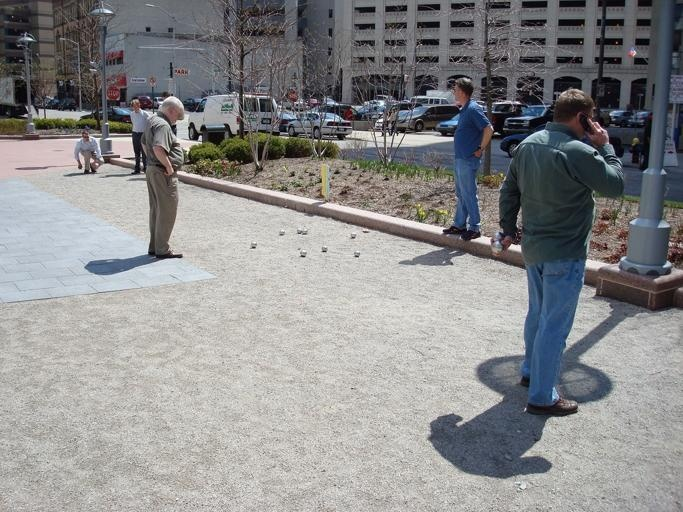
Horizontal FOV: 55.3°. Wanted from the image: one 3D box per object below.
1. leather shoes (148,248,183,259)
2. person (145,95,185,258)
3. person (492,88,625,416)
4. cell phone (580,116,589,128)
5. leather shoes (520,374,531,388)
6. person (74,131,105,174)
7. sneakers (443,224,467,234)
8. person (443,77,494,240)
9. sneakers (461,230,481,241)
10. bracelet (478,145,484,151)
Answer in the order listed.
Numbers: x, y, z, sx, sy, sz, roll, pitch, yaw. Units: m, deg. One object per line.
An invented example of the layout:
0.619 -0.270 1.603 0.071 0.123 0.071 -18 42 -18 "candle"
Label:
-2.528 0.010 9.398 0.509 0.213 0.177 -3 9 -18 "leather shoes"
-2.530 -1.113 9.317 0.596 2.235 0.782 -3 15 -15 "person"
1.664 -0.029 5.194 0.904 2.503 0.721 10 17 32 "person"
1.883 -1.026 5.045 0.092 0.107 0.022 -2 14 -10 "cell phone"
1.566 1.080 5.596 0.041 0.054 0.114 7 29 11 "leather shoes"
-7.182 -2.960 18.629 0.751 1.233 0.642 8 26 6 "person"
1.725 -0.391 10.041 0.368 0.166 0.137 4 23 1 "sneakers"
1.899 -1.437 9.808 0.631 2.384 0.955 3 14 10 "person"
1.933 -0.298 9.755 0.291 0.135 0.126 -3 8 -37 "sneakers"
2.039 -1.580 9.614 0.040 0.046 0.051 -1 -16 38 "bracelet"
